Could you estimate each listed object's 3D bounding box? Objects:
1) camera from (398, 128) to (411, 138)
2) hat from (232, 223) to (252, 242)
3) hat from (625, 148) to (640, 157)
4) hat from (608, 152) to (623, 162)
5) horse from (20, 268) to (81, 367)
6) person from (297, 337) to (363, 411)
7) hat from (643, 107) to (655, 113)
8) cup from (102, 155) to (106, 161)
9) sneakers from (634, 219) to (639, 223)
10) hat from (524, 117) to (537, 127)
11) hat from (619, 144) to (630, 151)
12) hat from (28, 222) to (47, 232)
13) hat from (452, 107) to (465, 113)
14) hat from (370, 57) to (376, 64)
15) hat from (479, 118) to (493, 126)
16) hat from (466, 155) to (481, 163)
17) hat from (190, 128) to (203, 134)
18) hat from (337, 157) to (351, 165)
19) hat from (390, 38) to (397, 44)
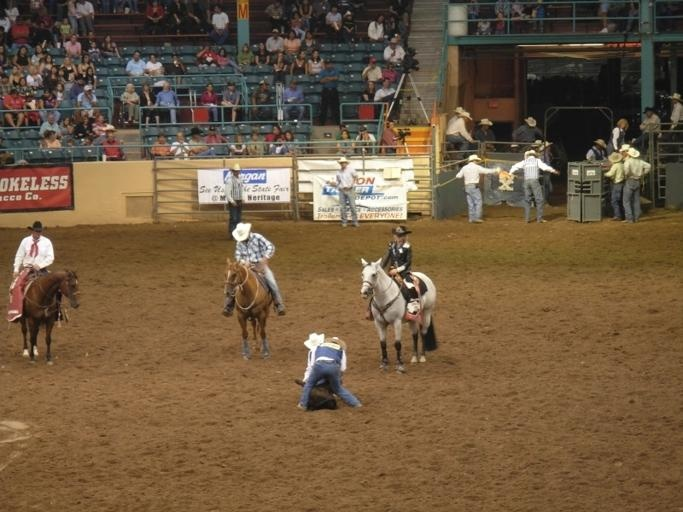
[{"bbox_3d":[2.230,-4.445,40.987,0.441,0.209,0.566,0,-1,3],"label":"camera"},{"bbox_3d":[-2.172,-0.603,25.492,0.474,0.504,0.203,-10,-31,26],"label":"hat"},{"bbox_3d":[9.158,-3.255,35.962,0.331,0.332,0.762,1,10,16],"label":"hat"},{"bbox_3d":[8.680,-3.139,36.232,0.411,0.342,0.402,-1,10,5],"label":"hat"},{"bbox_3d":[-6.590,1.223,25.689,1.274,2.091,2.424,-5,10,-16],"label":"horse"},{"bbox_3d":[-0.291,2.315,22.855,1.200,1.509,0.512,-2,10,-3],"label":"person"},{"bbox_3d":[10.585,-5.039,39.403,0.380,0.095,0.379,-3,3,3],"label":"hat"},{"bbox_3d":[-8.248,-3.451,39.815,0.172,0.220,0.296,-4,10,-13],"label":"cup"},{"bbox_3d":[9.465,-1.157,36.738,0.188,0.126,0.098,-1,-3,-12],"label":"sneakers"},{"bbox_3d":[6.663,-4.711,40.331,0.304,0.360,0.715,-1,10,5],"label":"hat"},{"bbox_3d":[8.915,-3.424,36.016,0.294,0.129,0.384,0,9,17],"label":"hat"},{"bbox_3d":[-6.877,-0.669,25.806,0.562,0.255,0.657,-2,1,-9],"label":"hat"},{"bbox_3d":[4.181,-5.159,40.444,0.409,0.155,0.426,3,3,2],"label":"hat"},{"bbox_3d":[1.187,-7.428,43.334,0.289,0.147,0.428,0,3,-4],"label":"hat"},{"bbox_3d":[5.120,-4.758,40.695,0.597,0.206,0.619,-2,2,3],"label":"hat"},{"bbox_3d":[4.469,-3.301,38.663,0.658,0.234,0.697,0,0,9],"label":"hat"},{"bbox_3d":[-5.134,-4.417,40.295,0.293,0.256,0.333,-5,10,-17],"label":"hat"},{"bbox_3d":[0.058,-3.173,37.921,0.360,0.126,0.363,1,-9,10],"label":"hat"},{"bbox_3d":[1.980,-8.193,43.578,0.254,0.108,0.339,3,22,2],"label":"hat"}]
